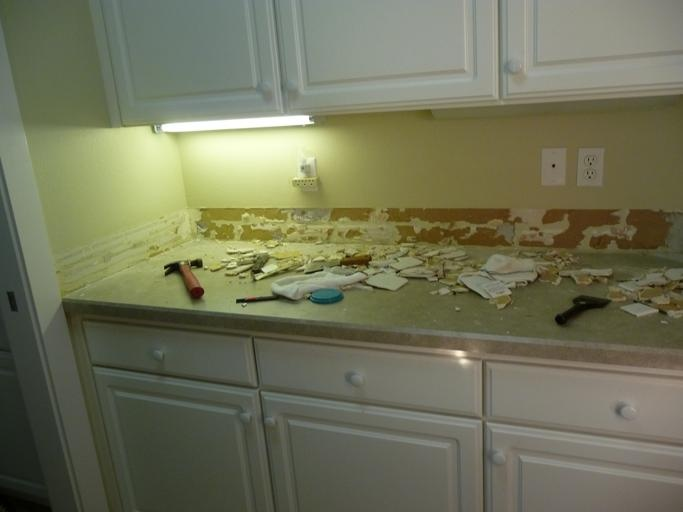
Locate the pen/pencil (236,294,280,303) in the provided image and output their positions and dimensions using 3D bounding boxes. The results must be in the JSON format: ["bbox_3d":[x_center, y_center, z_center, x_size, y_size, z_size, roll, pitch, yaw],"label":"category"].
[{"bbox_3d":[-0.280,0.144,1.687,0.117,0.018,0.018,-2,24,-1],"label":"pen/pencil"}]

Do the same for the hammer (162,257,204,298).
[{"bbox_3d":[-0.582,0.080,1.878,0.159,0.048,0.307,-11,24,-23],"label":"hammer"}]
